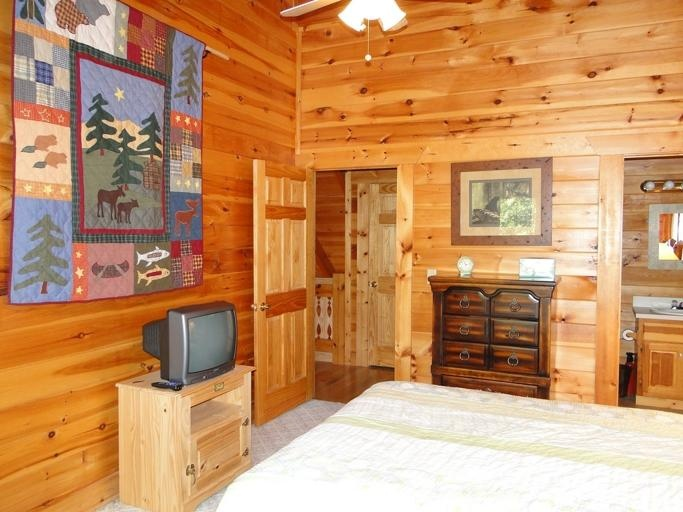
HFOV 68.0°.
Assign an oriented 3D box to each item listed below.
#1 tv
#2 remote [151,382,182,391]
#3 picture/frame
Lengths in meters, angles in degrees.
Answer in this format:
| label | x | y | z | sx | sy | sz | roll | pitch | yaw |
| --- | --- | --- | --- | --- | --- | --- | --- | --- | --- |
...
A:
| label | x | y | z | sx | sy | sz | roll | pitch | yaw |
| --- | --- | --- | --- | --- | --- | --- | --- | --- | --- |
| tv | -1.048 | 0.584 | 3.584 | 0.643 | 0.420 | 0.624 | 2 | 3 | -30 |
| remote | -1.124 | 0.829 | 3.277 | 0.149 | 0.040 | 0.074 | 1 | -1 | 12 |
| picture/frame | 1.488 | -0.501 | 4.592 | 1.026 | 0.780 | 0.041 | 0 | 0 | 22 |
